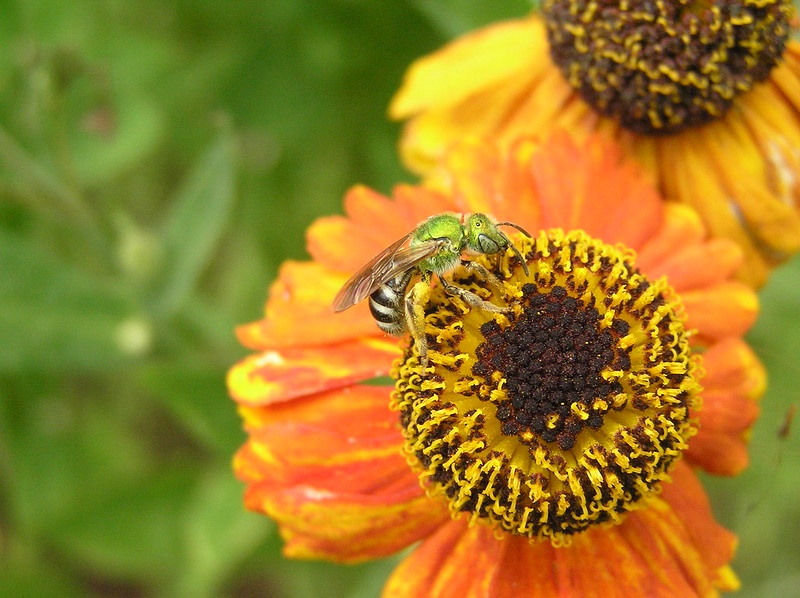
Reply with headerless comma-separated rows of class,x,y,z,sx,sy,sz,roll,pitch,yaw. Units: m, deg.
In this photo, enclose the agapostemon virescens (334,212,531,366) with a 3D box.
agapostemon virescens,0.059,0.008,1.115,0.242,0.174,0.100,-35,-65,4
